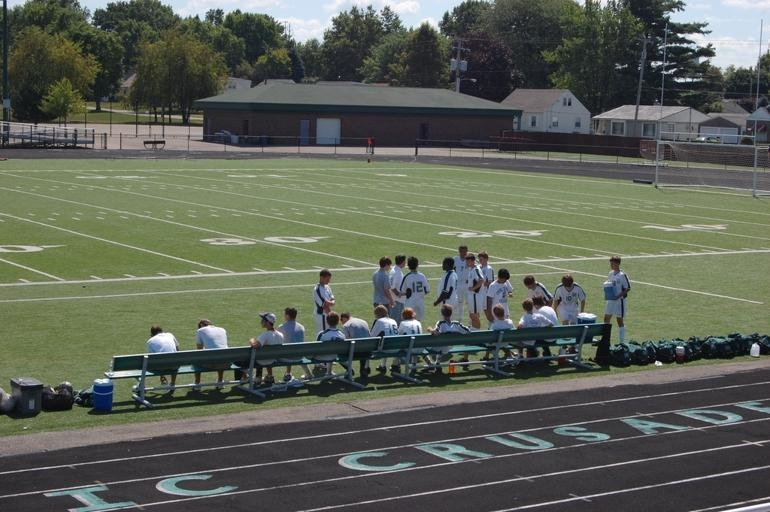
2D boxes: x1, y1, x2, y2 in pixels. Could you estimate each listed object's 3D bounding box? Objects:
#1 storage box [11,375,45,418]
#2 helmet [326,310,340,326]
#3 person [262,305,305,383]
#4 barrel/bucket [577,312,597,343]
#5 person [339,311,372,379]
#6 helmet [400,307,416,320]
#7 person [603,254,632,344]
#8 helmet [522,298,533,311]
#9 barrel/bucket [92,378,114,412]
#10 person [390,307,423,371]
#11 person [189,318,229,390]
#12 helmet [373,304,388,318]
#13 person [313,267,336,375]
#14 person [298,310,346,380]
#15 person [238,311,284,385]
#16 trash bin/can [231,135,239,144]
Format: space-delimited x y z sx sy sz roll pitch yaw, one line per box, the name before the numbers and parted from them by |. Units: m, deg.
storage box | -10.167 3.991 39.904 0.743 0.788 1.148 -3 10 -32
helmet | -1.524 1.884 41.383 0.326 0.431 0.611 -1 4 -7
person | -2.879 2.563 41.468 1.118 1.927 0.832 3 -3 6
barrel/bucket | 6.335 2.228 43.509 0.923 0.825 0.871 0 6 0
person | -1.039 2.667 41.973 0.765 1.781 0.875 -2 -2 33
helmet | 0.738 1.763 42.092 0.321 0.332 0.384 1 8 -10
person | 7.355 1.495 44.233 1.150 2.715 1.049 2 -2 40
helmet | 4.353 1.540 42.499 0.274 0.383 0.528 0 4 6
barrel/bucket | -7.997 4.008 39.789 0.566 0.929 0.285 0 3 -2
person | 0.885 2.220 42.421 0.747 1.482 0.839 -22 38 -14
person | -5.058 2.925 40.960 0.985 2.018 1.219 -1 4 -8
helmet | -0.093 1.684 42.068 0.375 0.382 0.429 2 12 -5
person | -1.816 1.815 42.770 0.792 2.572 0.811 0 10 -3
person | -1.778 2.681 41.419 1.397 1.908 0.934 2 -3 -9
person | -3.510 2.725 41.159 1.136 2.090 1.223 -1 3 -4
trash bin/can | -11.563 -9.113 108.812 0.956 0.759 0.603 0 12 -5
